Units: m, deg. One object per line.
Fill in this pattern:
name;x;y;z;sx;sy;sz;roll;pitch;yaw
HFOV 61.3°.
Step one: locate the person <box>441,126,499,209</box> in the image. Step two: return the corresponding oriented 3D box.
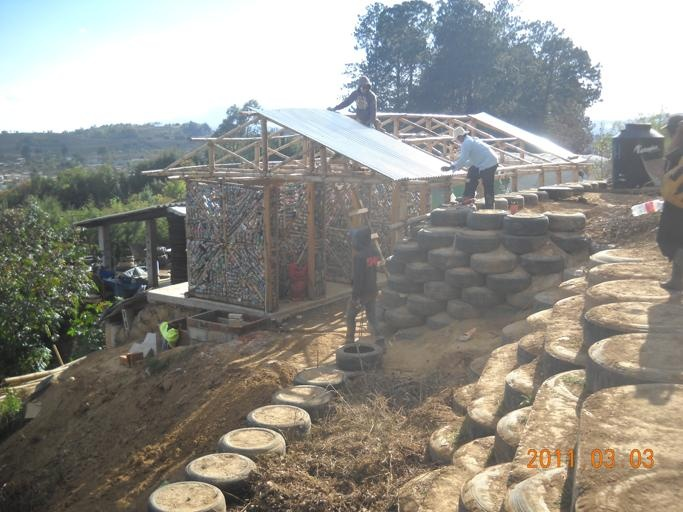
person;3.233;-2.142;14.003;1.142;2.028;0.752;-8;9;-5
